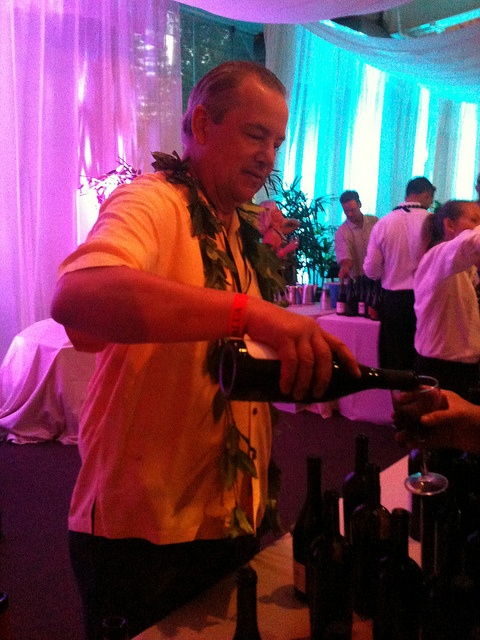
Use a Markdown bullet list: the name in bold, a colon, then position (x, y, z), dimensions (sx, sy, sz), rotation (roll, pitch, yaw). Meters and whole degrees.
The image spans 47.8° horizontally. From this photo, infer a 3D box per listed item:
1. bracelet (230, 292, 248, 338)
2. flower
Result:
- **bracelet**: position (-0.002, -0.006, 0.621), dimensions (0.021, 0.049, 0.017), rotation (-1, 6, -3)
- **flower**: position (0.071, -0.214, 1.253), dimensions (0.057, 0.162, 0.132), rotation (-14, 3, 34)
